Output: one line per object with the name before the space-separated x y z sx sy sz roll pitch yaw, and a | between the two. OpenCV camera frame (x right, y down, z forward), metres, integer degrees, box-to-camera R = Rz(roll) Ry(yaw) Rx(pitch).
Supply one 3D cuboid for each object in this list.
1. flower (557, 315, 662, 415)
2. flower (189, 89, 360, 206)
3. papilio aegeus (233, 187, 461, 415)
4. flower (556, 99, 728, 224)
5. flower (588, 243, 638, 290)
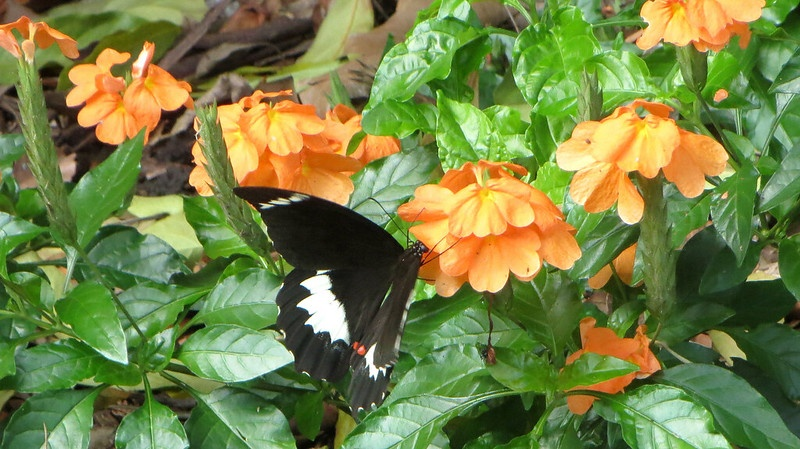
flower | 0.763 0.458 2.594 0.352 0.285 0.180 -8 -18 3
flower | -0.440 -0.283 2.815 0.480 0.503 0.259 17 -46 12
papilio aegeus | -0.233 0.275 2.571 0.634 0.768 0.383 -4 -18 -10
flower | 0.763 -0.216 2.376 0.456 0.171 0.466 -33 -70 15
flower | 0.864 0.175 2.907 0.078 0.178 0.170 28 3 -35
